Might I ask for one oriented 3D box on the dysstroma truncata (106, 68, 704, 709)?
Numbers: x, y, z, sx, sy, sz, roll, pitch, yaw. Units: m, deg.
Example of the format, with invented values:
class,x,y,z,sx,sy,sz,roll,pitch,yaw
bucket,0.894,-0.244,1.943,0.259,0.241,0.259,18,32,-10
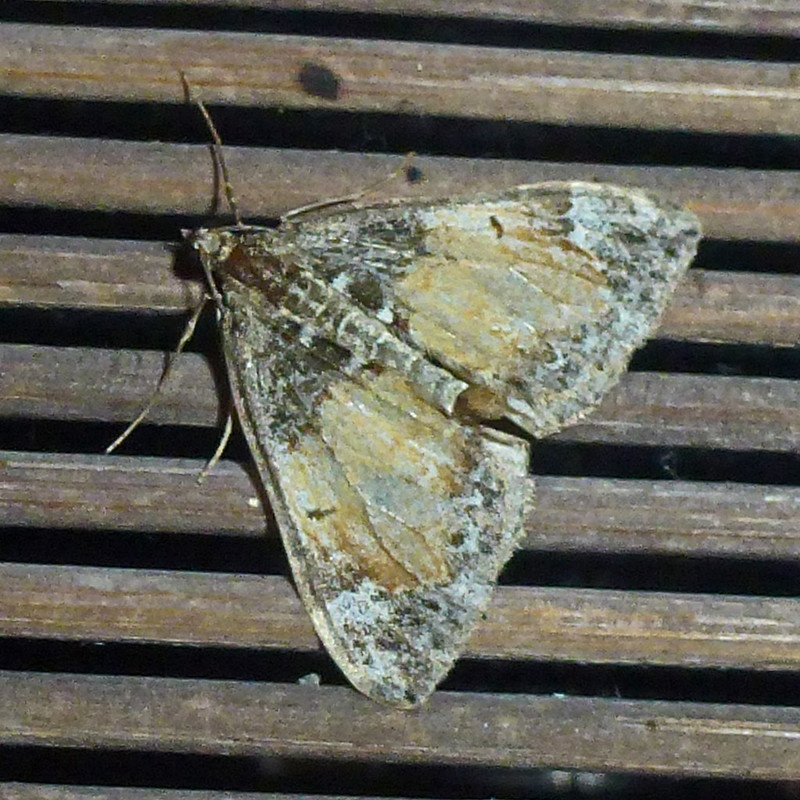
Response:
class,x,y,z,sx,sy,sz,roll,pitch,yaw
dysstroma truncata,0.026,-0.067,7.912,1.311,0.309,1.953,31,83,4
